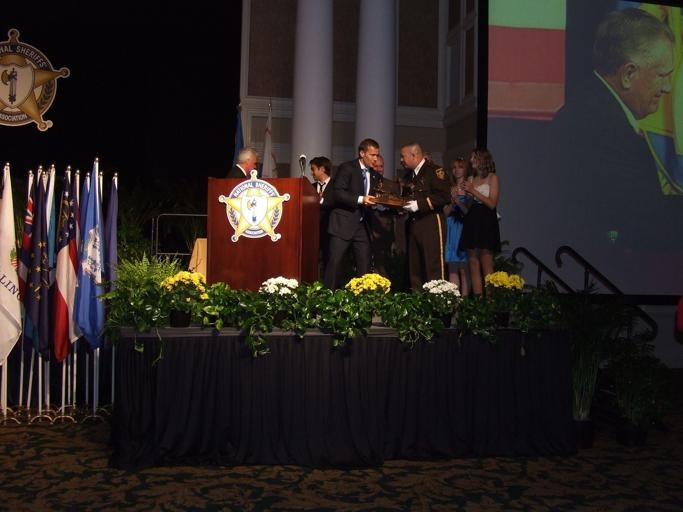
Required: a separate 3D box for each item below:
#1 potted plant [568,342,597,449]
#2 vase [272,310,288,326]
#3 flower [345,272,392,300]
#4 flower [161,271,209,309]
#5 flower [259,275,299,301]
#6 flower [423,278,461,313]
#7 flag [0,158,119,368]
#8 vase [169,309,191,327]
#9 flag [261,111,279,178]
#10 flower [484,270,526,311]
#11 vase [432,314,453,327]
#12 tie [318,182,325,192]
[{"bbox_3d":[2.588,1.501,8.678,0.367,1.092,0.157,-2,-1,-24],"label":"potted plant"},{"bbox_3d":[-0.609,0.608,8.043,0.136,0.159,0.270,2,-8,-5],"label":"vase"},{"bbox_3d":[0.287,0.302,8.326,0.276,0.184,0.285,0,6,-4],"label":"flower"},{"bbox_3d":[-1.527,0.338,8.004,0.380,0.413,0.364,-2,6,-25],"label":"flower"},{"bbox_3d":[-0.601,0.303,8.045,0.241,0.170,0.257,6,12,1],"label":"flower"},{"bbox_3d":[1.055,0.400,8.324,0.312,0.321,0.315,2,1,-5],"label":"flower"},{"bbox_3d":[-3.332,0.040,9.516,1.313,2.064,0.540,-3,0,-1],"label":"flag"},{"bbox_3d":[-1.596,0.615,8.076,0.157,0.137,0.174,3,3,1],"label":"vase"},{"bbox_3d":[-1.189,-1.914,13.488,0.294,1.532,0.208,23,34,35],"label":"flag"},{"bbox_3d":[1.731,0.374,8.603,0.388,0.423,0.431,-3,0,11],"label":"flower"},{"bbox_3d":[1.048,0.637,8.296,0.143,0.122,0.136,2,2,18],"label":"vase"},{"bbox_3d":[-0.270,-0.927,10.912,0.115,0.039,0.162,-5,42,29],"label":"tie"}]
